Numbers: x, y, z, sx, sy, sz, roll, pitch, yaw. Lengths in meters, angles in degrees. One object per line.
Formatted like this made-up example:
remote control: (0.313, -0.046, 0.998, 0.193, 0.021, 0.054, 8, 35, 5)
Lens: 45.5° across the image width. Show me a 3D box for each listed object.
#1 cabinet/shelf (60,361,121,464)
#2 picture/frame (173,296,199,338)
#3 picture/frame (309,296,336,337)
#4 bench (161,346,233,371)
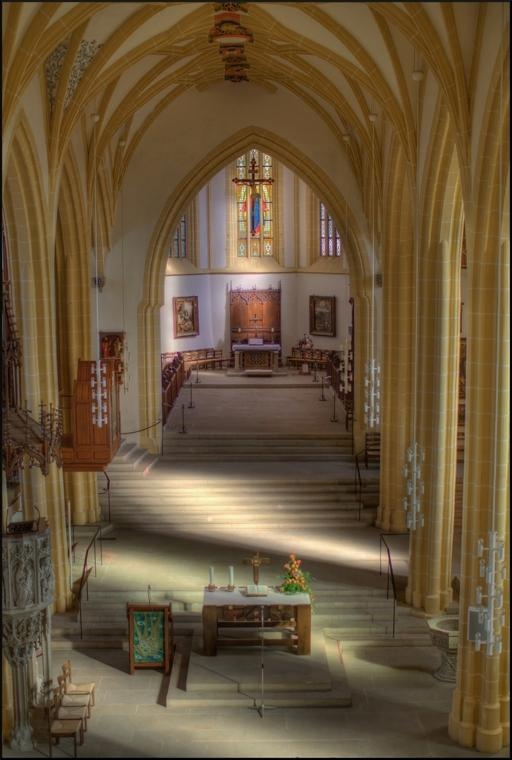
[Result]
cabinet/shelf: (-2.878, 0.539, 10.660, 0.976, 1.975, 1.929, 1, 6, -1)
picture/frame: (-3.218, -2.879, 27.618, 0.222, 2.361, 1.610, 4, 8, 41)
picture/frame: (3.128, -2.985, 28.158, 1.649, 2.325, 0.217, 3, 5, 43)
bench: (-2.263, -0.998, 28.590, 0.601, 1.004, 2.651, 6, 5, 44)
